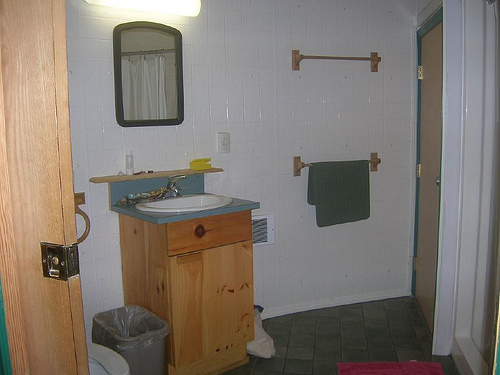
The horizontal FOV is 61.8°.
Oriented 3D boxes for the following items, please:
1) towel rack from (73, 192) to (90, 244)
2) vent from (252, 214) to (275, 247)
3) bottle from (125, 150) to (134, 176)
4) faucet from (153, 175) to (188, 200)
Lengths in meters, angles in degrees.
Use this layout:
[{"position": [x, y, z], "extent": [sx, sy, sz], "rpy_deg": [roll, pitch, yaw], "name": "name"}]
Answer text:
[{"position": [-0.976, 0.181, 2.468], "extent": [0.071, 0.289, 0.139], "rpy_deg": [-5, 10, -20], "name": "towel rack"}, {"position": [0.088, 0.304, 3.063], "extent": [0.243, 0.278, 0.052], "rpy_deg": [-3, 4, -28], "name": "vent"}, {"position": [-0.742, -0.154, 2.611], "extent": [0.051, 0.150, 0.094], "rpy_deg": [-5, 10, -16], "name": "bottle"}, {"position": [-0.564, 0.010, 2.732], "extent": [0.360, 0.138, 0.079], "rpy_deg": [-14, -22, 41], "name": "faucet"}]
